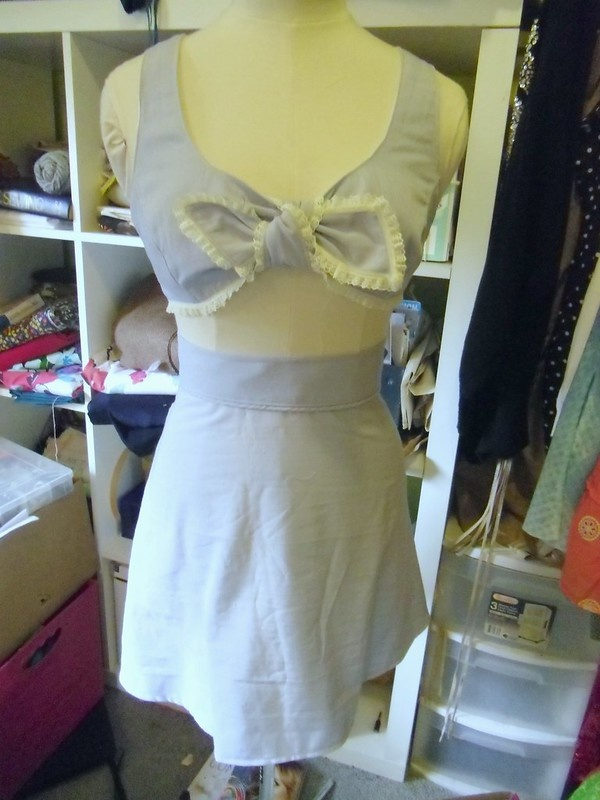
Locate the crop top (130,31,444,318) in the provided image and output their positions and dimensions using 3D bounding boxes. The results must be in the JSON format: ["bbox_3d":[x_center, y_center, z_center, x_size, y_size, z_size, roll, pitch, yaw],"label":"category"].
[{"bbox_3d":[-0.017,-0.276,0.859,0.380,0.324,0.201,4,31,4],"label":"crop top"}]

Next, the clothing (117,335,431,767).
[{"bbox_3d":[-0.050,0.171,1.010,0.454,0.536,0.363,2,11,4],"label":"clothing"}]
